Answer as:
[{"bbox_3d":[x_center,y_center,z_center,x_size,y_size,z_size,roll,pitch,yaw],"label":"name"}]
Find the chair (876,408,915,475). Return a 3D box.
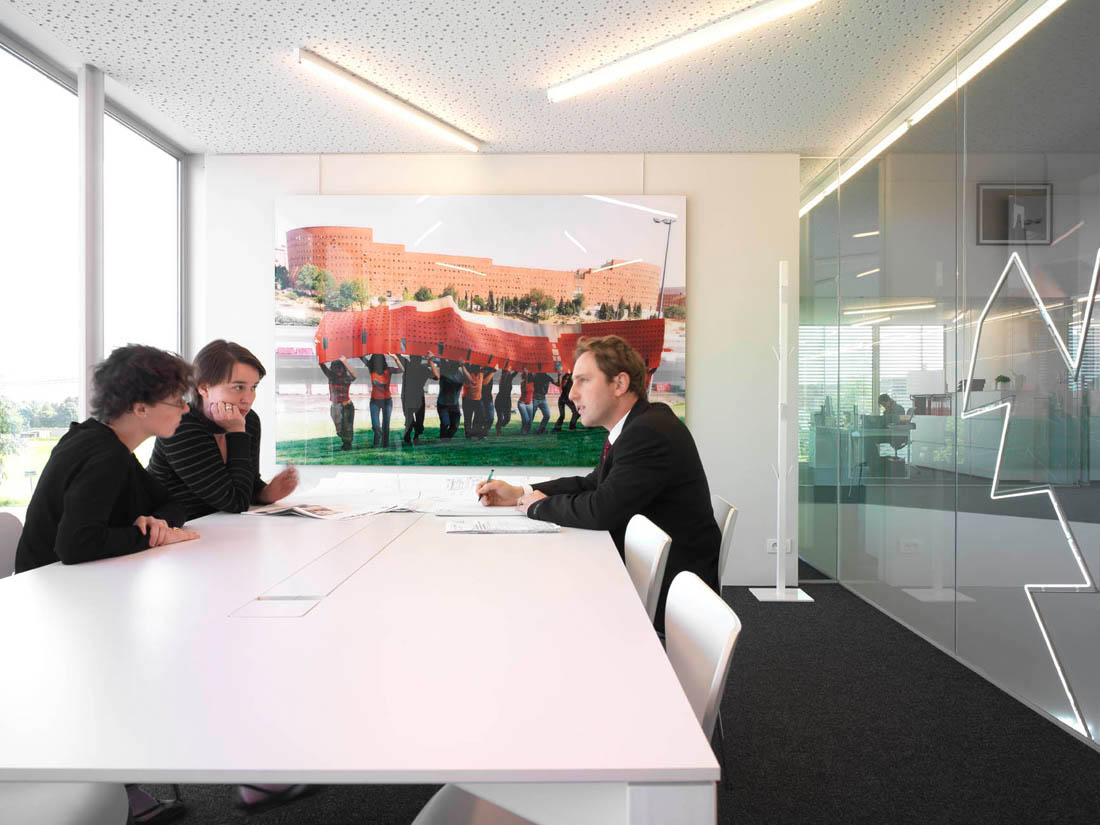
[{"bbox_3d":[2.030,0.126,4.429,0.231,0.457,0.277,-1,3,0],"label":"chair"}]

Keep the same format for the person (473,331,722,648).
[{"bbox_3d":[0.239,0.522,3.110,0.972,1.566,0.645,-1,2,1],"label":"person"}]

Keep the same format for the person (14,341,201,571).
[{"bbox_3d":[-1.502,0.157,2.826,0.666,0.977,0.768,0,-1,-22],"label":"person"}]

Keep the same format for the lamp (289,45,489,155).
[{"bbox_3d":[-0.899,-1.800,4.290,0.232,0.296,1.296,6,10,40],"label":"lamp"}]
